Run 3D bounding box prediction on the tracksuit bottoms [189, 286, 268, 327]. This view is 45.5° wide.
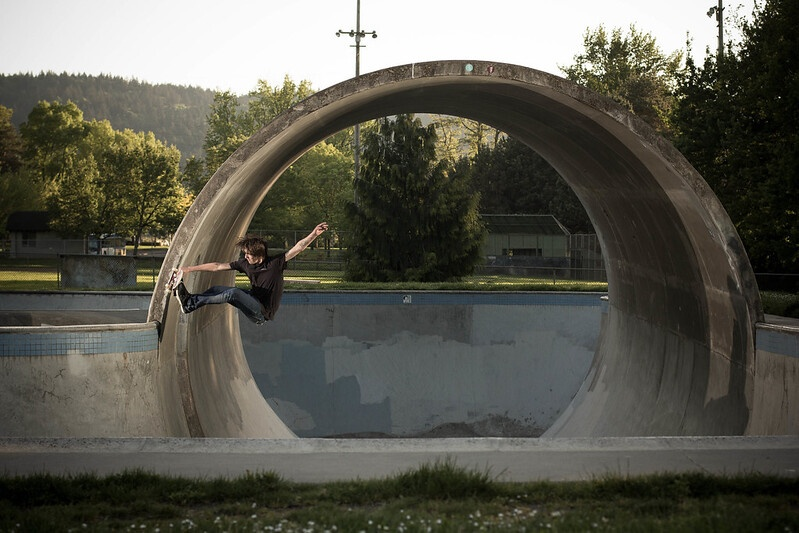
[{"bbox_3d":[-3.413,0.627,19.358,1.514,0.713,0.781,18,23,-7],"label":"tracksuit bottoms"}]
